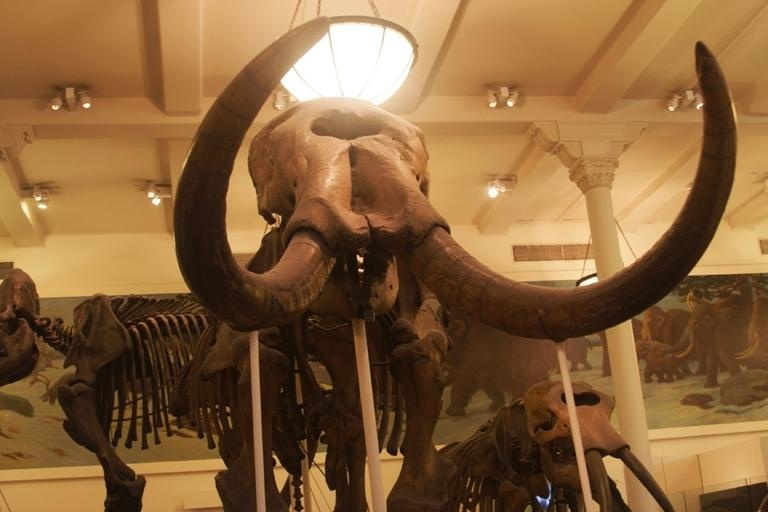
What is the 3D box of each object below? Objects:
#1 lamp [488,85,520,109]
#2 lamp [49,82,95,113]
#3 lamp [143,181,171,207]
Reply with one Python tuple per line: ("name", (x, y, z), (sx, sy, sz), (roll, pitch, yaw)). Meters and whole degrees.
("lamp", (1.580, -2.121, 8.037), (0.345, 0.135, 0.332), (1, -30, -2))
("lamp", (-3.851, -1.951, 7.371), (0.488, 0.241, 0.357), (-2, -5, -6))
("lamp", (-3.494, -0.933, 9.240), (0.389, 0.364, 0.244), (-1, -10, -13))
